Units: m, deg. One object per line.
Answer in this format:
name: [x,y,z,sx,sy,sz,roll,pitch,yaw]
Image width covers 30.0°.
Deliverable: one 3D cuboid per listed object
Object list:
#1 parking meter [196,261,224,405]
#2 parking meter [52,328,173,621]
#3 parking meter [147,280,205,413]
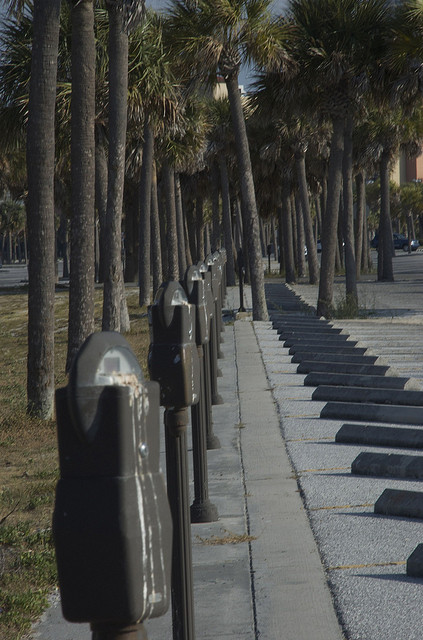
parking meter: [0.021,0.023,5.200,0.087,0.718,0.226,-2,11,45]
parking meter: [-0.169,0.291,1.410,0.204,0.496,0.246,12,7,42]
parking meter: [-0.109,0.086,2.642,0.084,0.445,0.246,-2,5,17]
